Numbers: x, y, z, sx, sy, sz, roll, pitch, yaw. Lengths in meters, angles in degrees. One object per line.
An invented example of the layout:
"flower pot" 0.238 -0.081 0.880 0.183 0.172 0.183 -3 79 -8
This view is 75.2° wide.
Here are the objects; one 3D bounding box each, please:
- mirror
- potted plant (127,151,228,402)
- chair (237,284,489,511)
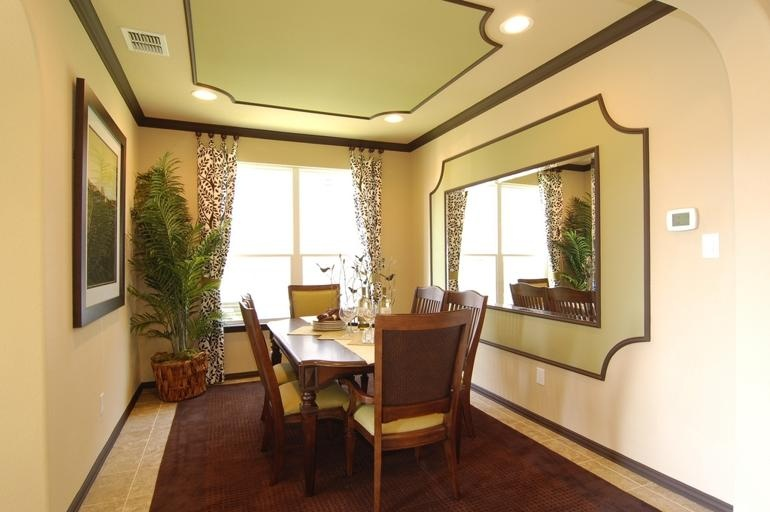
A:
"mirror" 1.440 -0.149 4.443 0.094 2.408 2.741 -1 1 -24
"potted plant" -2.251 0.200 5.386 0.867 2.536 1.040 1 12 11
"chair" -0.409 0.955 4.076 1.177 1.332 1.897 0 -1 -26
